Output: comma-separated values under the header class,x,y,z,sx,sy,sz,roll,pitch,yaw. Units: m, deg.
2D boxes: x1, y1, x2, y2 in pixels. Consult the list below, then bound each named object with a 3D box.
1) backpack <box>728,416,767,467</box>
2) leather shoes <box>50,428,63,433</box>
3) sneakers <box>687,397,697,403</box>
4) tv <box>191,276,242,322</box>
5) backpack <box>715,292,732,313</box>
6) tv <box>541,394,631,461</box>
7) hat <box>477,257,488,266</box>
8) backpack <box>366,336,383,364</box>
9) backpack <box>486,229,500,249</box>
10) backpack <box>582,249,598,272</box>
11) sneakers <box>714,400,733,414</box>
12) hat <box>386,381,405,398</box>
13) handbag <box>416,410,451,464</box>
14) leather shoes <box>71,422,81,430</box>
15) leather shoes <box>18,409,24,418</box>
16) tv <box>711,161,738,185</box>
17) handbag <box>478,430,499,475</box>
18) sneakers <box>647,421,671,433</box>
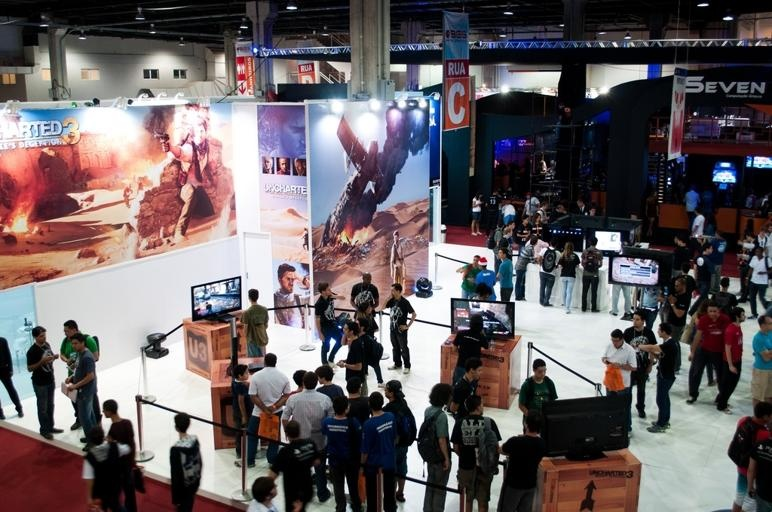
class,x,y,z,sx,sy,sz,roll,pitch,yaw
backpack,4.246,2.196,6.659,0.354,0.601,0.138,9,11,40
leather shoes,-5.120,2.739,8.855,0.172,0.068,0.058,-1,11,-26
sneakers,5.123,2.428,9.524,0.185,0.097,0.073,0,9,-13
tv,-3.181,0.856,10.734,0.775,0.536,0.224,-13,24,-38
backpack,5.929,0.823,9.989,0.346,0.378,0.188,-4,6,31
tv,2.284,1.991,6.510,0.801,0.556,0.216,-2,20,-2
hat,2.061,0.124,12.040,0.227,0.202,0.170,-4,7,-44
backpack,-0.204,1.526,9.108,0.108,0.490,0.322,6,10,29
backpack,2.860,-0.438,15.086,0.284,0.489,0.523,9,23,20
backpack,4.554,0.108,12.613,0.353,0.487,0.472,2,10,20
sneakers,5.523,2.501,9.301,0.123,0.235,0.243,-5,-12,-17
hat,0.106,1.652,7.187,0.200,0.235,0.467,2,9,0
handbag,0.578,2.207,6.893,0.380,0.725,0.189,2,9,5
leather shoes,-4.905,2.712,8.980,0.174,0.095,0.094,4,9,15
leather shoes,-6.018,2.603,9.365,0.085,0.131,0.215,-4,11,-32
tv,11.136,-2.734,18.638,0.767,0.764,0.420,4,6,38
handbag,1.210,2.345,6.652,0.224,0.635,0.187,-3,10,-30
sneakers,4.253,2.722,8.893,0.390,0.178,0.131,-8,20,18
